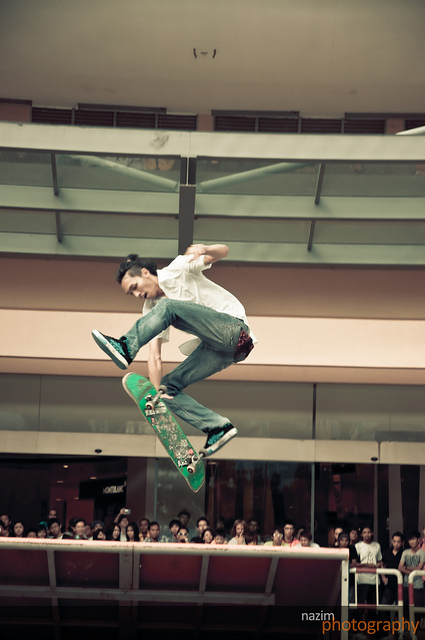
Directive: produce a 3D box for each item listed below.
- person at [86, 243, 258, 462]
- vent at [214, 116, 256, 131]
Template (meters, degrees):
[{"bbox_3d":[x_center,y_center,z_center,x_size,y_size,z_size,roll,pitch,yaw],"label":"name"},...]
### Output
[{"bbox_3d":[-0.275,0.029,5.635,1.056,1.432,1.275,-25,-50,23],"label":"person"},{"bbox_3d":[0.299,-2.688,10.550,0.637,0.183,0.435,0,6,0],"label":"vent"}]
